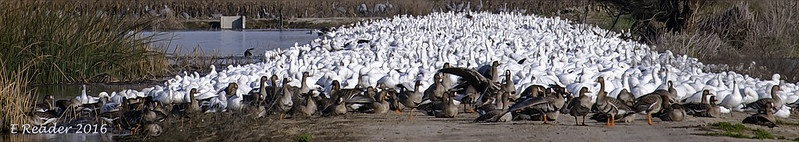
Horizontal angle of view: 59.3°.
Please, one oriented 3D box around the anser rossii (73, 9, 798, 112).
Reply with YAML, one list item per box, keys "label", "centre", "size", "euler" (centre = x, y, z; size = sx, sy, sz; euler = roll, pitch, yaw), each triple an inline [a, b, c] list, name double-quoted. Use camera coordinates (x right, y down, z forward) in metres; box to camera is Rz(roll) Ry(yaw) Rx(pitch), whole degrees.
- label: "anser rossii"
  centre: [8.796, -1.243, 120.279]
  size: [127.671, 18.531, 20.106]
  euler: [0, 1, 9]
